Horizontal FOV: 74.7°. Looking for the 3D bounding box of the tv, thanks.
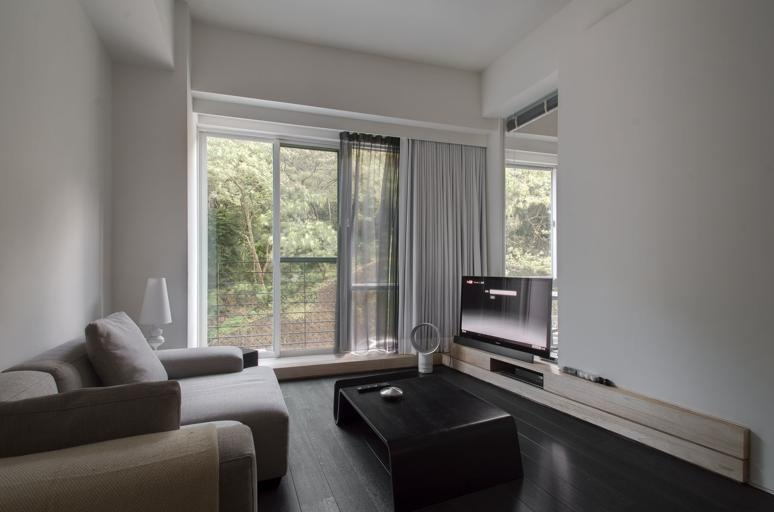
[{"bbox_3d":[1.149,0.565,5.104,0.130,0.789,1.151,-3,6,-32],"label":"tv"}]
